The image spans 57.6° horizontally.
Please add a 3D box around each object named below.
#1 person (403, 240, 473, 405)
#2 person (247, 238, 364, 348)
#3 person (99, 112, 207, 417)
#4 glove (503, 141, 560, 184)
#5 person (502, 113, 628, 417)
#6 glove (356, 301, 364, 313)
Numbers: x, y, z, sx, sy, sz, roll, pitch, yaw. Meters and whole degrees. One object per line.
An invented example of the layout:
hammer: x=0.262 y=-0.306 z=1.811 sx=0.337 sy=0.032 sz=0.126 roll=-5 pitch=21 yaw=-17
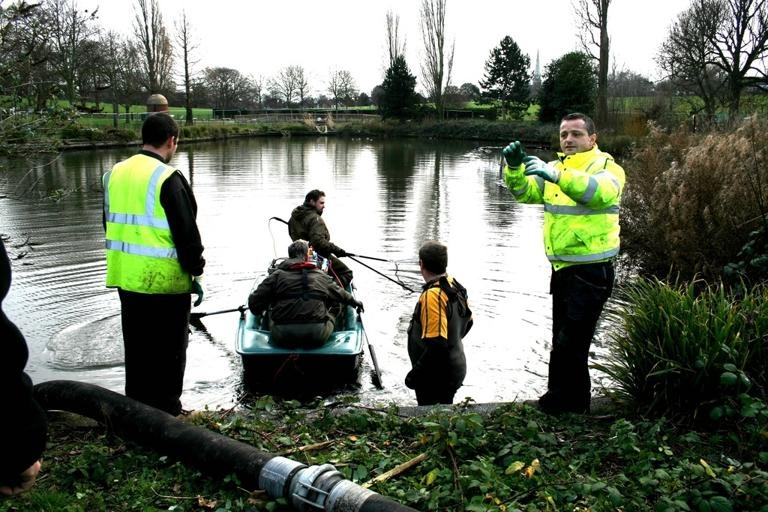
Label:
person: x=0.444 y=0.613 z=6.095 sx=0.503 sy=1.411 sz=0.661 roll=2 pitch=12 yaw=15
person: x=-0.956 y=0.387 z=8.177 sx=1.212 sy=1.139 sz=2.172 roll=3 pitch=6 yaw=-3
person: x=-1.828 y=0.083 z=5.596 sx=0.683 sy=2.385 sz=0.392 roll=-6 pitch=12 yaw=-22
glove: x=1.177 y=-0.748 z=5.547 sx=0.478 sy=0.283 sz=0.191 roll=31 pitch=28 yaw=34
person: x=1.465 y=0.048 z=5.737 sx=0.899 sy=2.401 sz=0.783 roll=2 pitch=12 yaw=18
glove: x=-0.276 y=0.601 z=8.190 sx=0.103 sy=0.108 sz=0.125 roll=-1 pitch=5 yaw=-4
